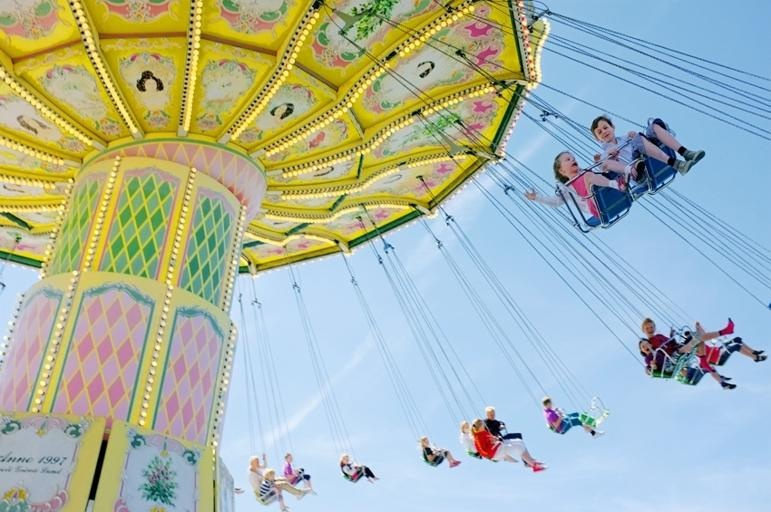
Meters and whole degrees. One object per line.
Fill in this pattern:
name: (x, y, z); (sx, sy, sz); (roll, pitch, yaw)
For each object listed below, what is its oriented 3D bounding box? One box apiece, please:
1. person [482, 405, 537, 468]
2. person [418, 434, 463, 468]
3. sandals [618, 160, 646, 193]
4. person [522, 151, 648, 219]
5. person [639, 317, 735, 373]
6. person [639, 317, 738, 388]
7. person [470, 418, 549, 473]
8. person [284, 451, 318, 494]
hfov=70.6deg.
person: (2.274, 3.353, 10.000); (0.717, 1.268, 0.548); (-29, -33, 11)
person: (1.100, 4.341, 11.806); (0.654, 0.795, 0.849); (-13, -44, 2)
sandals: (3.238, -1.040, 7.092); (0.267, 0.360, 0.151); (9, 22, 43)
person: (2.871, -1.016, 7.591); (1.585, 0.621, 1.421); (1, -14, 0)
person: (4.668, 1.442, 8.589); (1.382, 0.830, 0.931); (-8, 3, 44)
person: (4.677, 1.411, 8.484); (0.883, 0.894, 1.309); (-15, 1, -32)
person: (2.252, 3.489, 10.061); (1.296, 0.960, 0.511); (0, -38, -8)
person: (-2.113, 5.284, 13.114); (0.708, 0.972, 0.509); (-9, -15, 14)
